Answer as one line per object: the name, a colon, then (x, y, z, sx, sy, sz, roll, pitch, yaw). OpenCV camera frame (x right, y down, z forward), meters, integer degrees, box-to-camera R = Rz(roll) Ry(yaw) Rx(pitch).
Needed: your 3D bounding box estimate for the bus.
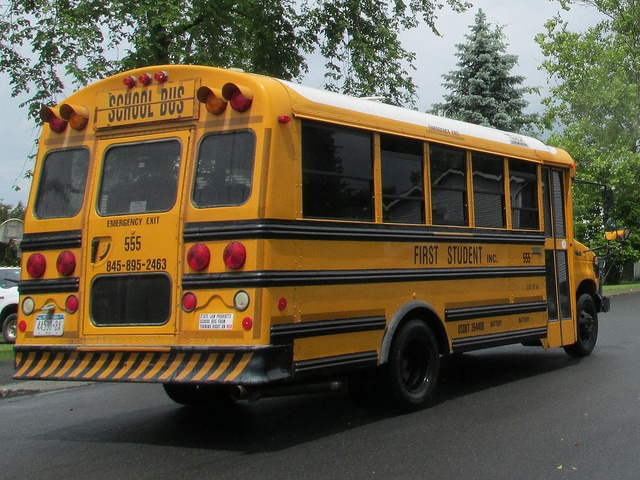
bus: (0.207, 0.023, 7.342, 6.402, 2.957, 3.813, -2, -1, -43)
